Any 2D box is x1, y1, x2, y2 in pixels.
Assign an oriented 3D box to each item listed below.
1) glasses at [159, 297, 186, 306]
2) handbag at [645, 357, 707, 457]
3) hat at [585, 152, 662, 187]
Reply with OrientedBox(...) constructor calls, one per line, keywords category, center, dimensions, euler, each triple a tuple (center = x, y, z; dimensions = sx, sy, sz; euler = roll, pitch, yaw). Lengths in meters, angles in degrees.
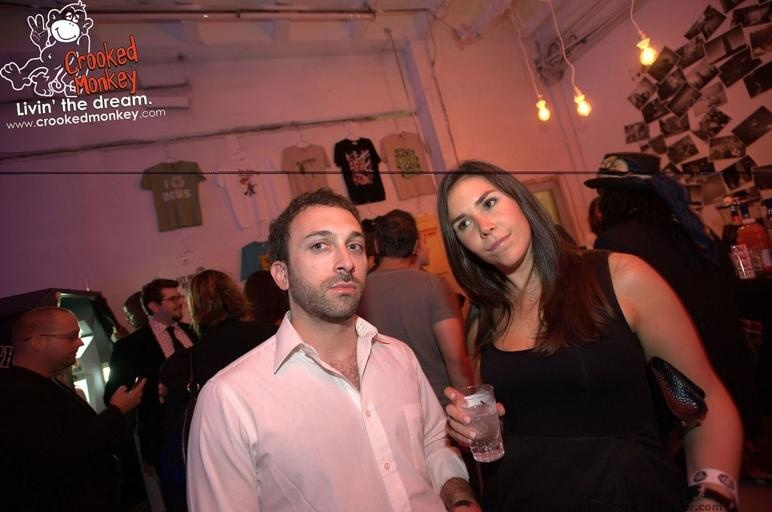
OrientedBox(category="glasses", center=(-1.900, 0.405, 3.824), dimensions=(0.154, 0.046, 0.154), euler=(-12, -12, 26))
OrientedBox(category="handbag", center=(1.330, 0.670, 2.029), dimensions=(0.208, 0.487, 0.171), euler=(-5, 14, 2))
OrientedBox(category="hat", center=(1.105, -0.398, 1.994), dimensions=(0.279, 0.100, 0.227), euler=(-9, 9, 3))
